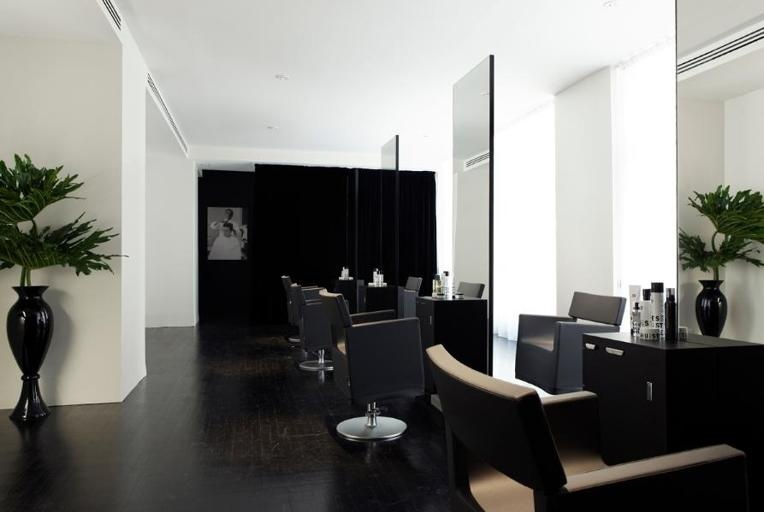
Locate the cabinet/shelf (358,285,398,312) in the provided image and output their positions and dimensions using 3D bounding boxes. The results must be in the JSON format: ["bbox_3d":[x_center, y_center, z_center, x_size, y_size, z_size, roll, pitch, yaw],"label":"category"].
[{"bbox_3d":[-0.008,0.639,7.942,0.382,0.394,0.394,1,1,-8],"label":"cabinet/shelf"}]

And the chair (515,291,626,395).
[{"bbox_3d":[1.957,0.895,5.608,0.810,1.024,0.885,3,-1,-12],"label":"chair"}]

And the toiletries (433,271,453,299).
[{"bbox_3d":[0.686,0.329,6.030,0.224,0.263,0.371,1,7,5],"label":"toiletries"}]

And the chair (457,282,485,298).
[{"bbox_3d":[0.983,0.390,5.916,0.187,0.242,0.161,7,-9,-28],"label":"chair"}]

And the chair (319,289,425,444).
[{"bbox_3d":[-0.062,1.046,5.708,1.162,1.836,1.224,0,-1,-13],"label":"chair"}]

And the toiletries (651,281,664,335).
[{"bbox_3d":[2.026,0.389,3.953,0.095,0.352,0.173,4,8,28],"label":"toiletries"}]

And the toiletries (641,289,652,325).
[{"bbox_3d":[1.958,0.380,3.975,0.068,0.251,0.127,3,8,25],"label":"toiletries"}]

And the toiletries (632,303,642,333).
[{"bbox_3d":[1.901,0.470,4.013,0.063,0.223,0.161,2,8,20],"label":"toiletries"}]

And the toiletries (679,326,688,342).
[{"bbox_3d":[2.182,0.566,3.898,0.074,0.104,0.135,-2,-2,24],"label":"toiletries"}]
